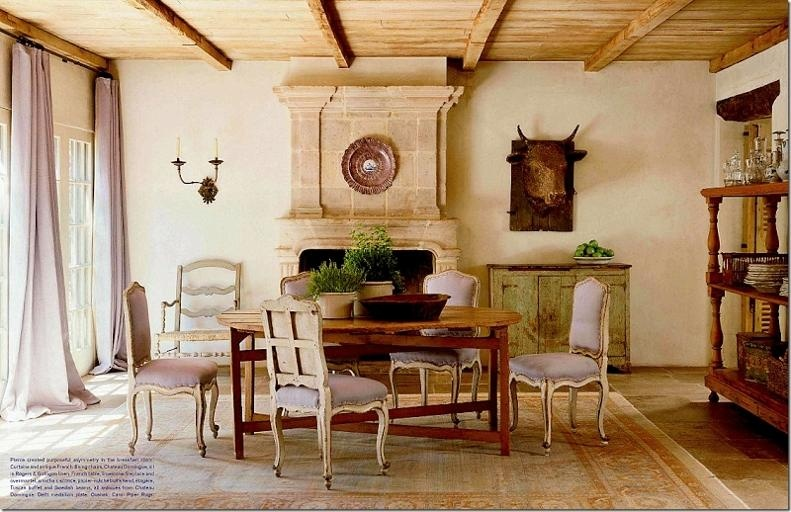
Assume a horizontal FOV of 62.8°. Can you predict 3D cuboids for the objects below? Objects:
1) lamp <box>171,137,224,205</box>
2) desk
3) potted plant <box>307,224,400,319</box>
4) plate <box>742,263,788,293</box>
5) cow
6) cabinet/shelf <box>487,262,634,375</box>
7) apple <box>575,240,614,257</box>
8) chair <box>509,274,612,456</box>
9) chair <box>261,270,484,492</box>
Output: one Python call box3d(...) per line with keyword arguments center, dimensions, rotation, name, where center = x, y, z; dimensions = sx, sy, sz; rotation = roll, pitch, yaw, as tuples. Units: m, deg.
box3d(center=(-2.453, -1.061, 8.116), dimensions=(0.695, 0.747, 0.469), rotation=(-1, -9, -1), name="lamp")
box3d(center=(-0.224, 1.200, 6.197), dimensions=(2.843, 1.176, 1.653), rotation=(0, -5, -5), name="desk")
box3d(center=(-0.384, 0.172, 6.280), dimensions=(0.940, 0.788, 0.996), rotation=(-1, -6, -6), name="potted plant")
box3d(center=(3.513, 0.213, 6.214), dimensions=(0.288, 0.150, 0.272), rotation=(-1, 2, -26), name="plate")
box3d(center=(1.891, -1.108, 8.113), dimensions=(1.229, 1.136, 0.656), rotation=(-1, 8, 0), name="cow")
box3d(center=(1.772, 0.673, 7.075), dimensions=(1.503, 1.118, 0.554), rotation=(0, 0, -1), name="cabinet/shelf")
box3d(center=(2.423, -0.070, 7.996), dimensions=(0.300, 0.128, 0.301), rotation=(0, 1, -36), name="apple")
box3d(center=(1.517, 0.970, 6.074), dimensions=(1.001, 1.408, 0.945), rotation=(-2, 0, 9), name="chair")
box3d(center=(-0.130, 0.997, 6.087), dimensions=(0.994, 1.474, 2.615), rotation=(1, 1, 32), name="chair")
